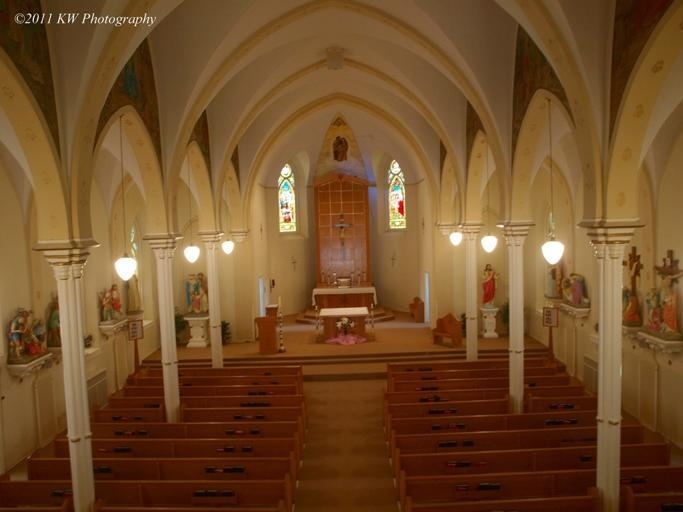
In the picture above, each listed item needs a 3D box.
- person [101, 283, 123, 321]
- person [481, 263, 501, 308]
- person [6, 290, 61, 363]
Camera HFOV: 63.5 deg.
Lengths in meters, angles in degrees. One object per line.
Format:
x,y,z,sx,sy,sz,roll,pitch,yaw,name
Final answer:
-6.870,1.418,16.504,0.413,1.079,0.967,-3,6,1,person
5.497,1.092,20.456,0.550,1.645,1.017,-1,7,16,person
-7.199,1.769,12.943,0.468,1.248,1.556,-2,7,1,person
